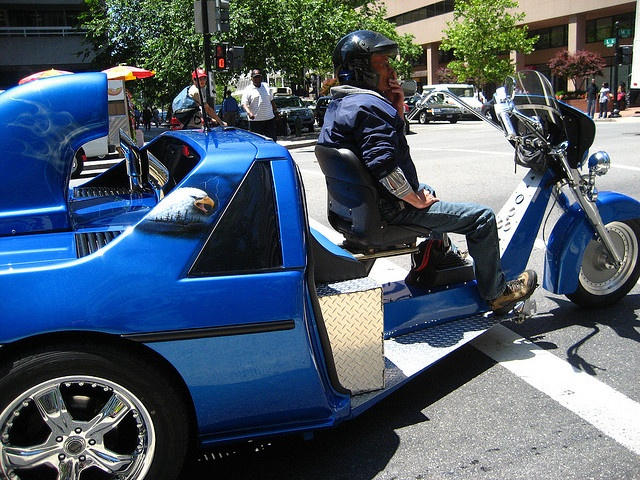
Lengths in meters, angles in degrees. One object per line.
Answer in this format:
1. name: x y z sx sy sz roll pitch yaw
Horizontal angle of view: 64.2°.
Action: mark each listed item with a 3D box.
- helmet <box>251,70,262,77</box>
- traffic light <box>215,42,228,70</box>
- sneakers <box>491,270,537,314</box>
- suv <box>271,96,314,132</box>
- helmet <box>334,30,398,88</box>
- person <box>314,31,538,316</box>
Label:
1. helmet: -1.661 -4.255 13.126 0.204 0.186 0.306 -5 16 -13
2. traffic light: -2.558 -4.670 13.085 0.428 0.652 0.268 8 21 31
3. sneakers: 1.414 0.385 3.748 0.330 0.155 0.124 -33 58 -15
4. suv: -1.174 -5.862 23.444 1.683 1.812 3.582 -6 9 -15
5. helmet: 0.293 -1.238 3.562 0.421 0.383 0.351 -3 17 -4
6. person: 0.794 -0.512 3.812 1.515 1.999 1.169 -2 14 -1
